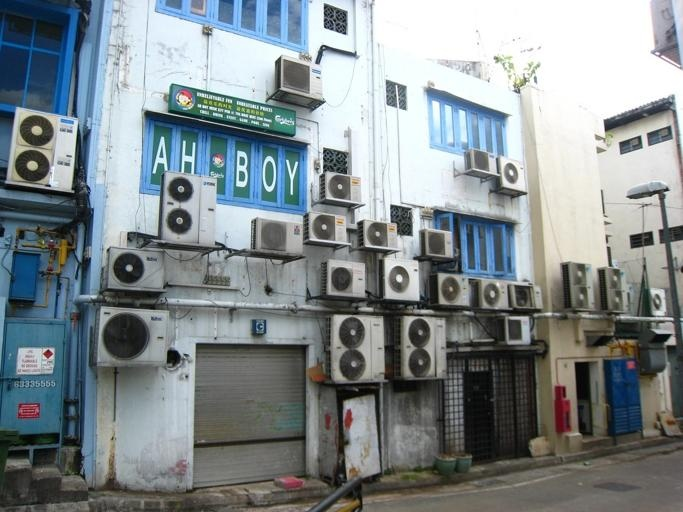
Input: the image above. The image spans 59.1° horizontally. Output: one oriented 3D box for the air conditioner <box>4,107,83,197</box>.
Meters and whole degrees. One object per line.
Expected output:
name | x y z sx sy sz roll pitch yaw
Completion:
air conditioner | -6.104 -2.062 12.191 1.456 2.249 1.069 6 -8 -34
